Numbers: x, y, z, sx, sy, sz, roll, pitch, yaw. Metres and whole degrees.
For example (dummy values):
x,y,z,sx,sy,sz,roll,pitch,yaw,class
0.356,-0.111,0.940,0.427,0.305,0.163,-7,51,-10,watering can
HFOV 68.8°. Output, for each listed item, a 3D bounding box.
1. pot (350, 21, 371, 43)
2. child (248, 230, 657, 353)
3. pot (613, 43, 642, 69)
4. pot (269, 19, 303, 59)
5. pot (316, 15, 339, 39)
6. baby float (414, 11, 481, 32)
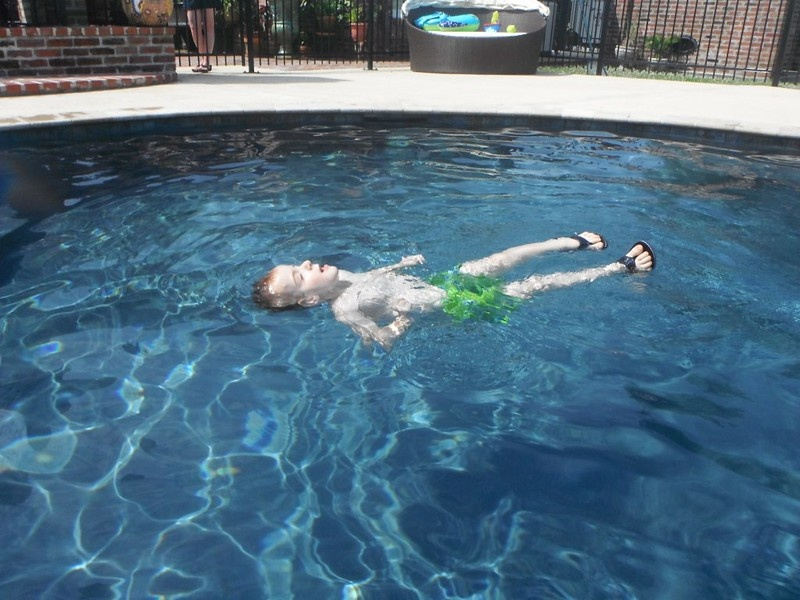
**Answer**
x,y,z,sx,sy,sz,roll,pitch,yaw,class
-1.027,-6.489,14.193,0.388,0.450,0.854,-5,27,-9,pot
0.344,-0.105,3.562,2.604,0.488,0.757,-4,43,-5,child
5.658,-5.977,14.372,0.706,0.492,1.891,9,27,16,pot
-2.699,-6.182,13.846,0.648,0.788,1.124,-5,28,-9,pot
-1.644,-6.281,13.422,0.538,0.301,0.417,-12,47,-13,pot
0.996,-5.730,12.059,1.435,0.318,0.608,1,46,1,baby float
